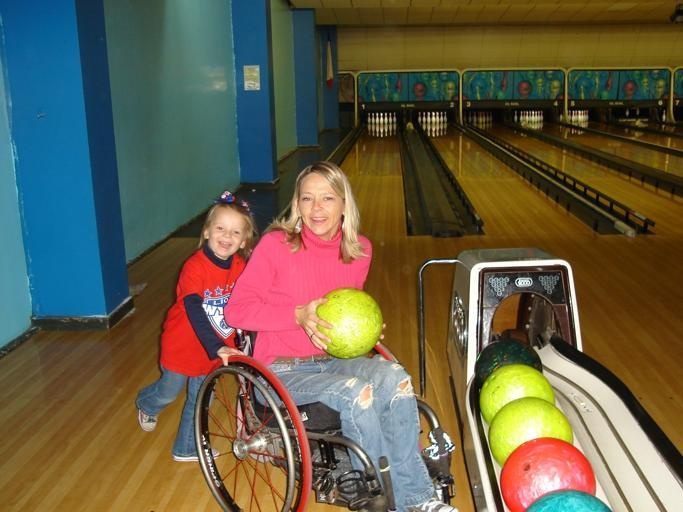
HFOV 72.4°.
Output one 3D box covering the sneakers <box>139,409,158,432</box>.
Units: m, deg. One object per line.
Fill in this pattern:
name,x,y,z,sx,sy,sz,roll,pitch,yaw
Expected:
sneakers,-0.922,0.796,2.234,0.052,0.152,0.056,7,44,-3
